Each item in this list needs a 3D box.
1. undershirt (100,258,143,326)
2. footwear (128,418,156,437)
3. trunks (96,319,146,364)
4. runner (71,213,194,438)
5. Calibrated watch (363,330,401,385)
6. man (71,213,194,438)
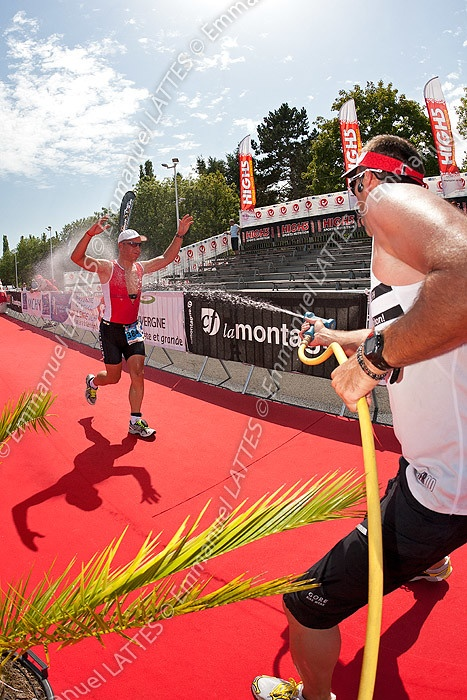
[{"bbox_3d":[-1.237,-0.630,4.832,0.407,0.703,0.200,-3,9,-17],"label":"undershirt"},{"bbox_3d":[-0.983,0.837,4.745,0.367,0.172,0.134,7,6,33],"label":"footwear"},{"bbox_3d":[-1.248,-0.092,4.930,0.713,0.622,0.445,-2,3,-29],"label":"trunks"},{"bbox_3d":[-1.100,-0.292,4.823,0.763,2.370,1.206,7,12,40],"label":"runner"},{"bbox_3d":[0.405,0.022,1.194,0.117,0.070,0.117,28,33,-9],"label":"Calibrated watch"},{"bbox_3d":[-1.101,-0.292,4.824,0.761,2.370,1.206,7,12,40],"label":"man"}]
